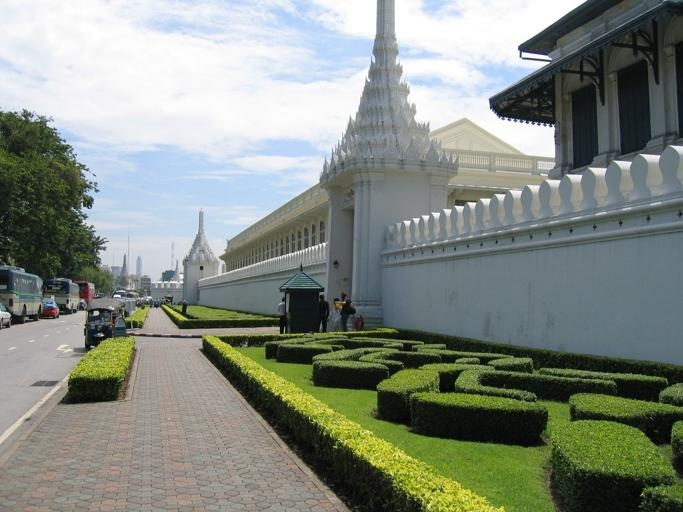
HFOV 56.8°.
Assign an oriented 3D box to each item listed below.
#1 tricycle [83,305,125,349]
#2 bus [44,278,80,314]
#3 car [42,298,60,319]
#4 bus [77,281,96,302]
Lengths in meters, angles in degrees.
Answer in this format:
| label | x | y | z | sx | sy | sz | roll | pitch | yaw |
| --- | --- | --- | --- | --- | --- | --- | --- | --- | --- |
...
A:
| label | x | y | z | sx | sy | sz | roll | pitch | yaw |
| --- | --- | --- | --- | --- | --- | --- | --- | --- | --- |
| tricycle | -7.431 | 2.160 | 19.732 | 0.963 | 1.008 | 1.614 | 1 | 0 | -13 |
| bus | -21.838 | 3.106 | 49.054 | 1.687 | 2.098 | 4.531 | 0 | -5 | -10 |
| car | -19.822 | 3.639 | 43.031 | 0.883 | 0.690 | 2.064 | 0 | 3 | -16 |
| bus | -24.577 | 3.407 | 60.425 | 1.891 | 2.697 | 5.365 | 1 | -2 | -20 |
